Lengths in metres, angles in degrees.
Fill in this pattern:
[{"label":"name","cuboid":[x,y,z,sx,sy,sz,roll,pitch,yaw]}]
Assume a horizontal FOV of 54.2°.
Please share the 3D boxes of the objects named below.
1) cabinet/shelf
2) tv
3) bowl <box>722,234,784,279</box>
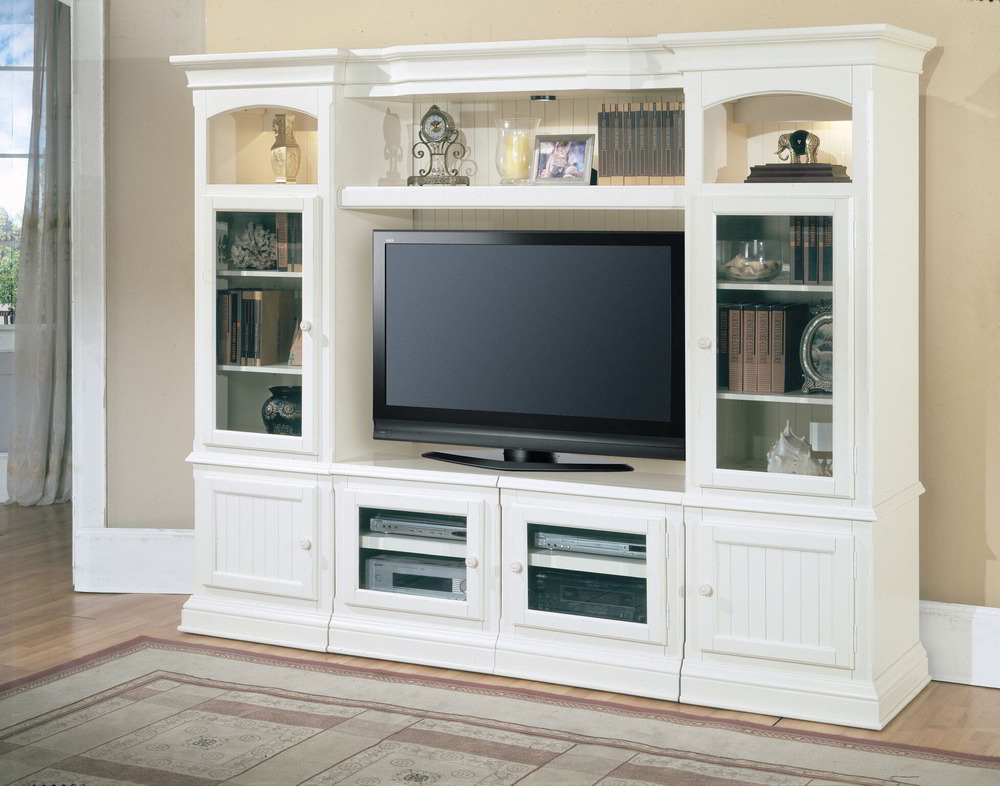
[{"label":"cabinet/shelf","cuboid":[0.251,-0.012,3.757,2.886,2.180,0.662,2,4,24]},{"label":"tv","cuboid":[0.154,-0.196,3.938,1.068,0.685,0.235,2,8,21]},{"label":"bowl","cuboid":[0.896,-0.487,3.498,0.168,0.110,0.159,-2,6,0]}]
